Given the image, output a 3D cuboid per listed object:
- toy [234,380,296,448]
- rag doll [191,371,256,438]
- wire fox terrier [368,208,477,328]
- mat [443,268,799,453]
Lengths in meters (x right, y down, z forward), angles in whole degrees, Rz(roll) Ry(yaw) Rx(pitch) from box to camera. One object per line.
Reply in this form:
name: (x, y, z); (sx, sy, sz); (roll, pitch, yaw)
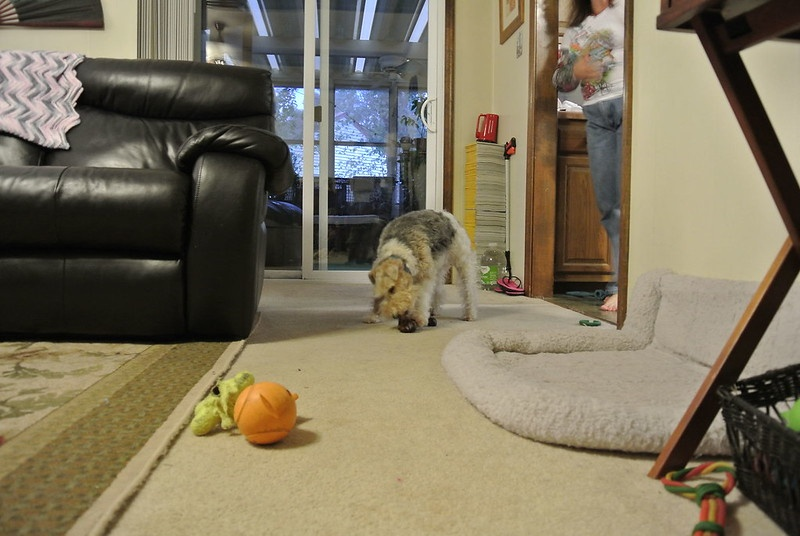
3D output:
toy: (-0.355, 0.391, 1.522); (0.165, 0.158, 0.167); (5, -3, 13)
rag doll: (-0.490, 0.393, 1.579); (0.133, 0.166, 0.075); (35, -9, 33)
wire fox terrier: (0.131, 0.006, 2.898); (0.338, 0.592, 1.032); (3, 15, 32)
mat: (0.714, 0.340, 1.736); (0.668, 0.245, 0.678); (-2, 1, 0)
